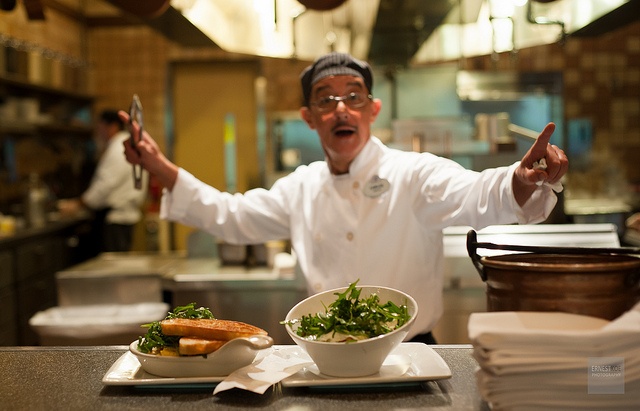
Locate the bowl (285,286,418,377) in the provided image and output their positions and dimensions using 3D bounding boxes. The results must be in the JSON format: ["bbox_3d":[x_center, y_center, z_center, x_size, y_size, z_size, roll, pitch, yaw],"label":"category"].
[{"bbox_3d":[0.118,0.424,2.188,0.444,0.327,0.586,-1,0,5],"label":"bowl"}]

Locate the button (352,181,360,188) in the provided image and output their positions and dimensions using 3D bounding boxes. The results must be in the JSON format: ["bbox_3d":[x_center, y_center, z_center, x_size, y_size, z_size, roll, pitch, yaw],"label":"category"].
[{"bbox_3d":[0.173,-0.096,2.708,0.028,0.029,0.007,-5,3,7],"label":"button"}]

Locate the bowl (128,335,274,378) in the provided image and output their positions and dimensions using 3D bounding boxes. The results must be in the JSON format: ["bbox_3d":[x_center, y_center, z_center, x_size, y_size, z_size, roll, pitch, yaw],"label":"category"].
[{"bbox_3d":[-0.411,0.551,2.047,0.305,0.080,0.235,-2,-9,8],"label":"bowl"}]

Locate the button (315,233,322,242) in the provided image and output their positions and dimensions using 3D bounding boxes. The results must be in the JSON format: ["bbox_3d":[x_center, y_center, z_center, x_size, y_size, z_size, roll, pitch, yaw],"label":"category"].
[{"bbox_3d":[-0.004,0.153,2.741,0.040,0.039,0.011,4,7,43],"label":"button"}]
